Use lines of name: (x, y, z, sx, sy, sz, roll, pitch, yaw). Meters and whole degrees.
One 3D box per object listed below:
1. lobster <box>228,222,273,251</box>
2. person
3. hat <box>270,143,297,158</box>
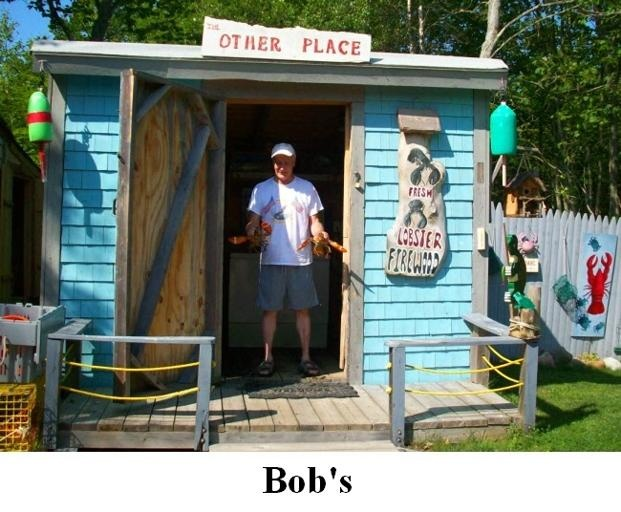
lobster: (-0.640, -0.179, 6.996, 0.418, 0.290, 0.125, -3, 22, 12)
person: (-0.272, 0.061, 7.116, 0.819, 2.531, 0.409, -1, 2, 0)
hat: (-0.296, -1.133, 7.100, 0.222, 0.166, 0.339, -1, 3, -6)
